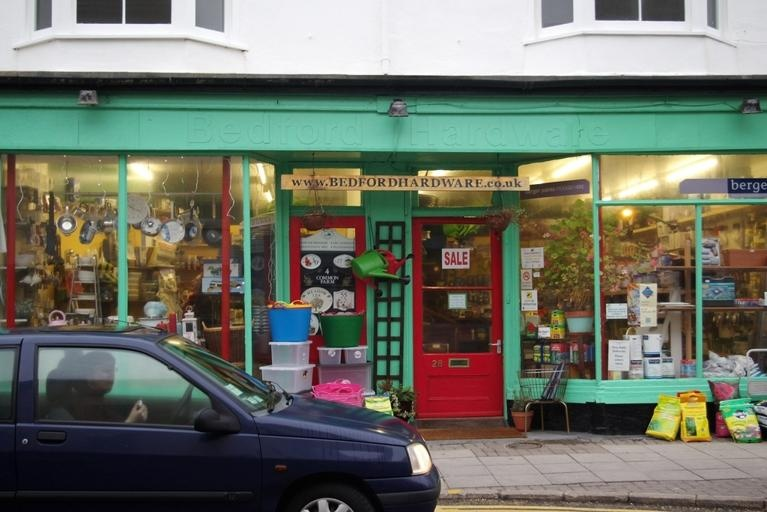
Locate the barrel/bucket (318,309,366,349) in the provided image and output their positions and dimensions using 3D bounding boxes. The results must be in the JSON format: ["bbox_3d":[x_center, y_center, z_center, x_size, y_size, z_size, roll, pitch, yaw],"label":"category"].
[{"bbox_3d":[-0.683,1.163,13.994,0.623,0.393,0.579,0,-8,0],"label":"barrel/bucket"}]

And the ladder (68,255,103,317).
[{"bbox_3d":[-4.861,0.507,13.968,0.472,1.001,0.048,-2,-4,0],"label":"ladder"}]

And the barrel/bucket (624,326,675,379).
[{"bbox_3d":[4.363,1.637,14.296,0.888,0.760,0.304,1,-7,-5],"label":"barrel/bucket"}]

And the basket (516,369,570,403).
[{"bbox_3d":[2.603,2.161,14.290,0.808,0.441,0.574,1,0,-8],"label":"basket"}]

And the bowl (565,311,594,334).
[{"bbox_3d":[3.263,1.118,14.344,0.387,0.265,0.375,2,-7,0],"label":"bowl"}]

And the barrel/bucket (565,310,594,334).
[{"bbox_3d":[3.257,1.106,14.326,0.387,0.266,0.375,2,-7,0],"label":"barrel/bucket"}]

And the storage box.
[{"bbox_3d":[-0.988,1.455,14.638,1.482,2.713,1.949,-2,-2,11],"label":"storage box"}]

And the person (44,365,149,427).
[{"bbox_3d":[-3.497,1.304,10.497,1.591,0.885,0.631,0,24,-3],"label":"person"}]

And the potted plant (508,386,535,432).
[{"bbox_3d":[2.295,2.583,14.386,0.321,0.534,0.306,6,-12,-38],"label":"potted plant"}]

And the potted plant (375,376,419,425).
[{"bbox_3d":[0.219,2.409,14.224,0.684,0.473,0.667,3,0,11],"label":"potted plant"}]

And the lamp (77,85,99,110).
[{"bbox_3d":[-4.643,-2.486,13.536,0.298,0.278,0.174,-2,-3,-6],"label":"lamp"}]

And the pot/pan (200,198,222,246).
[{"bbox_3d":[-2.822,-0.517,14.050,0.514,0.658,0.203,-2,2,4],"label":"pot/pan"}]

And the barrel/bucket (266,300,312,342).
[{"bbox_3d":[-1.487,1.071,13.770,0.620,0.516,0.640,0,-7,0],"label":"barrel/bucket"}]

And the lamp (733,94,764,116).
[{"bbox_3d":[5.983,-2.467,14.043,0.429,0.280,0.249,-2,-3,5],"label":"lamp"}]

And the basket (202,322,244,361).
[{"bbox_3d":[-2.621,1.385,14.190,0.699,0.637,0.570,0,-4,-4],"label":"basket"}]
